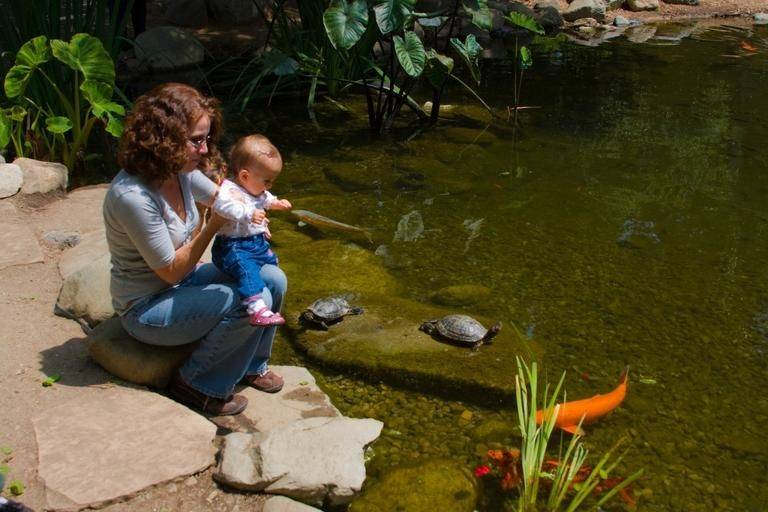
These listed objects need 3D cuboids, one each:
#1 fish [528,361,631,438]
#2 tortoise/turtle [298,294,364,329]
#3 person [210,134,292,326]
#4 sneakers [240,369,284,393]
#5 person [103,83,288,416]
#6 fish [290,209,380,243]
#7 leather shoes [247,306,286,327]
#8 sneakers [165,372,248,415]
[{"bbox_3d":[1.433,1.003,4.615,0.982,0.358,0.348,-5,8,-14],"label":"fish"},{"bbox_3d":[-0.433,0.452,5.333,0.541,0.193,0.267,-4,25,-2],"label":"tortoise/turtle"},{"bbox_3d":[-0.928,-0.177,4.569,0.633,1.265,0.664,8,-10,-17],"label":"person"},{"bbox_3d":[-0.889,0.913,4.819,0.319,0.107,0.135,5,19,16],"label":"sneakers"},{"bbox_3d":[-1.339,-0.088,4.782,1.391,2.253,0.997,6,13,23],"label":"person"},{"bbox_3d":[-0.519,-0.333,6.622,1.019,0.192,0.209,10,29,27],"label":"fish"},{"bbox_3d":[-0.797,0.415,4.407,0.238,0.080,0.119,-1,13,12],"label":"leather shoes"},{"bbox_3d":[-1.243,0.981,4.661,0.580,0.232,0.194,19,-5,-17],"label":"sneakers"}]
